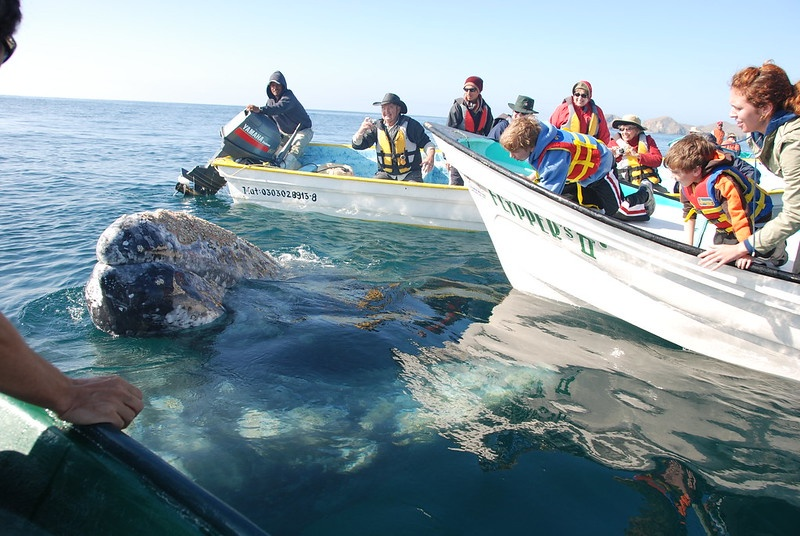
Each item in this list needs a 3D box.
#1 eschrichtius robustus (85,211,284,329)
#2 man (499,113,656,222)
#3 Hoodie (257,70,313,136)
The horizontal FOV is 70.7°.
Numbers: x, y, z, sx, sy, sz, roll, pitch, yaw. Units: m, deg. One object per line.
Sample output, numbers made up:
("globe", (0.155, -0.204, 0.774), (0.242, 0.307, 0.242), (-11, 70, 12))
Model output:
("eschrichtius robustus", (-2.568, 0.055, 6.809), (1.372, 0.713, 2.011), (3, 2, 9))
("man", (2.478, -1.334, 8.094), (2.713, 0.872, 1.318), (15, 12, -12))
("Hoodie", (-2.923, -4.122, 14.113), (0.589, 1.495, 1.362), (24, 25, 37))
